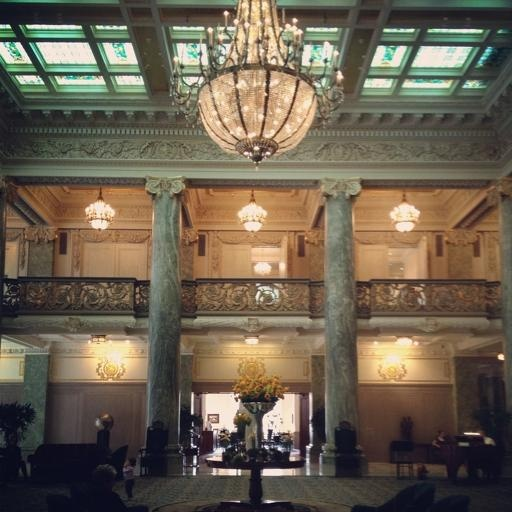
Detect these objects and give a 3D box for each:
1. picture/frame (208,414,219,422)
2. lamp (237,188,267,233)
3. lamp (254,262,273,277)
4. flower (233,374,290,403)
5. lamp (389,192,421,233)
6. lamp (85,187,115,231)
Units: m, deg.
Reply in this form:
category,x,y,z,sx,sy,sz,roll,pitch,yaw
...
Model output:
category,x,y,z,sx,sy,sz,roll,pitch,yaw
picture/frame,-1.937,7.445,25.864,0.485,0.432,0.785,0,-16,-4
lamp,-0.088,-1.359,16.163,1.005,1.438,0.815,5,-33,-2
lamp,0.223,0.444,19.798,0.571,0.749,0.484,-4,-22,11
flower,0.100,2.014,8.550,0.615,0.208,0.550,5,-8,-29
lamp,3.919,-1.220,14.969,0.654,1.283,1.054,-6,-19,13
lamp,-3.976,-1.232,14.473,0.637,1.221,1.043,6,-20,-20
